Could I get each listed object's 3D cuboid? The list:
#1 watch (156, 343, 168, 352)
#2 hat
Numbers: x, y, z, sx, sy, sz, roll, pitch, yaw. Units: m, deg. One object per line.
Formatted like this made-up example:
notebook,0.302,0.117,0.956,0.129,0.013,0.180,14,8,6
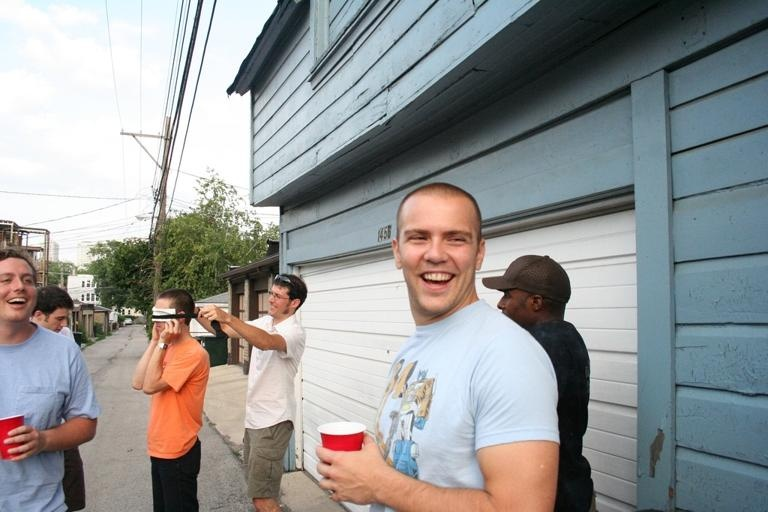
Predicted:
watch,-2.062,0.824,4.471,0.075,0.052,0.077,9,-9,36
hat,1.024,0.165,3.471,0.647,0.365,0.428,4,-2,18
